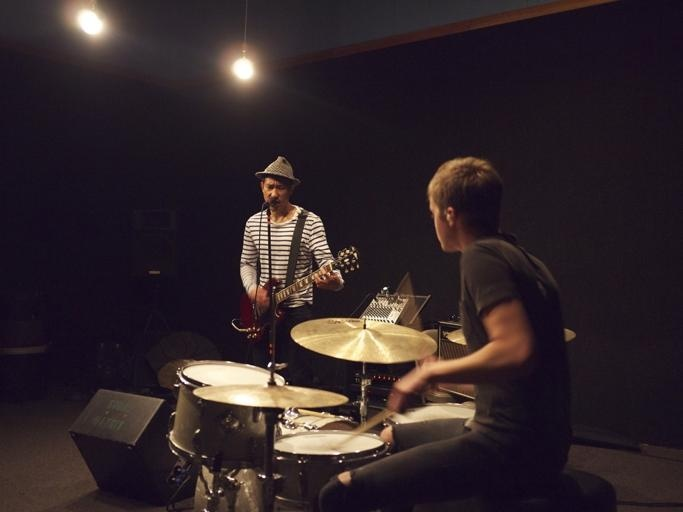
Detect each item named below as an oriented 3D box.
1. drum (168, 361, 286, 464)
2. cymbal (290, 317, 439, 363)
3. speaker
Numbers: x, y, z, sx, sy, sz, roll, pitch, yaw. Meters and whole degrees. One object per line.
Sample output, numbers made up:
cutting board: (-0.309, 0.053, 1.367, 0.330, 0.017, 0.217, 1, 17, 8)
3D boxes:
drum: (-0.640, 0.905, 3.303, 0.525, 0.409, 0.559, 9, 7, -1)
cymbal: (0.136, 0.470, 3.386, 0.804, 0.098, 0.851, 10, 9, 21)
speaker: (-1.536, 1.357, 3.959, 0.674, 0.763, 0.287, -1, -2, 22)
